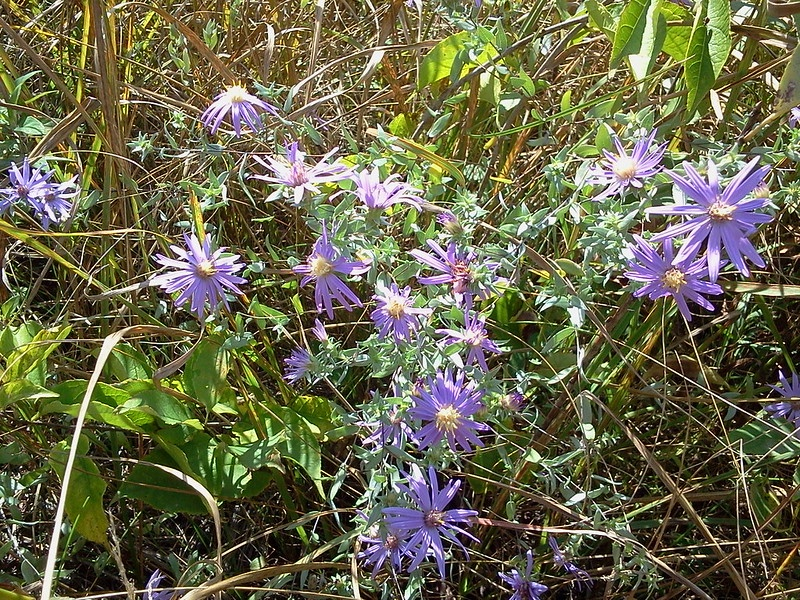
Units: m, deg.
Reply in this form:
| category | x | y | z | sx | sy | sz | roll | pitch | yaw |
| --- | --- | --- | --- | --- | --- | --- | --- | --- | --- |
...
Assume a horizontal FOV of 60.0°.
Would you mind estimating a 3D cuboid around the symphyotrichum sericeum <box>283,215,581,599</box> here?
| category | x | y | z | sx | sy | sz | roll | pitch | yaw |
| --- | --- | --- | --- | --- | --- | --- | --- | --- | --- |
| symphyotrichum sericeum | 0.028 | 0.091 | 1.141 | 0.495 | 0.639 | 0.241 | 0 | 11 | 3 |

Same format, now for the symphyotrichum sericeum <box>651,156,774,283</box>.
| category | x | y | z | sx | sy | sz | roll | pitch | yaw |
| --- | --- | --- | --- | --- | --- | --- | --- | --- | --- |
| symphyotrichum sericeum | 0.410 | -0.122 | 0.898 | 0.160 | 0.034 | 0.166 | -21 | 19 | 40 |

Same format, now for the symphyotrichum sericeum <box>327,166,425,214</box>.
| category | x | y | z | sx | sy | sz | roll | pitch | yaw |
| --- | --- | --- | --- | --- | --- | --- | --- | --- | --- |
| symphyotrichum sericeum | -0.016 | -0.159 | 0.998 | 0.076 | 0.029 | 0.079 | -12 | 53 | -40 |

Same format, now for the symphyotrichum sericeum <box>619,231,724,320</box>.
| category | x | y | z | sx | sy | sz | roll | pitch | yaw |
| --- | --- | --- | --- | --- | --- | --- | --- | --- | --- |
| symphyotrichum sericeum | 0.377 | -0.043 | 0.961 | 0.145 | 0.166 | 0.039 | -12 | 65 | 24 |

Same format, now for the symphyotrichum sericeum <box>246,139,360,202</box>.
| category | x | y | z | sx | sy | sz | roll | pitch | yaw |
| --- | --- | --- | --- | --- | --- | --- | --- | --- | --- |
| symphyotrichum sericeum | -0.164 | -0.193 | 0.998 | 0.113 | 0.042 | 0.119 | 17 | 22 | 40 |
